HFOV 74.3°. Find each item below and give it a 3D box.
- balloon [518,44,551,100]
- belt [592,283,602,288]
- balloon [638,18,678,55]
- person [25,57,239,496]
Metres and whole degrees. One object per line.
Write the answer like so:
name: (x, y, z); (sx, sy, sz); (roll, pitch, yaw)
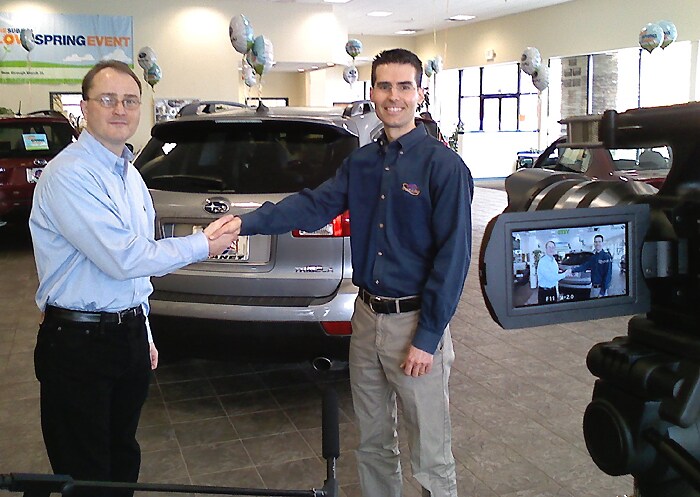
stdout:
balloon: (5.450, -5.319, 13.561); (0.704, 1.278, 0.946); (3, 12, 25)
belt: (0.717, 0.109, 1.340); (0.015, 0.010, 0.015); (0, 1, -40)
balloon: (7.129, -4.931, 10.712); (0.925, 0.677, 0.392); (-9, 13, -33)
person: (-0.903, 0.140, 1.721); (0.512, 1.642, 0.431); (-12, 14, -42)
